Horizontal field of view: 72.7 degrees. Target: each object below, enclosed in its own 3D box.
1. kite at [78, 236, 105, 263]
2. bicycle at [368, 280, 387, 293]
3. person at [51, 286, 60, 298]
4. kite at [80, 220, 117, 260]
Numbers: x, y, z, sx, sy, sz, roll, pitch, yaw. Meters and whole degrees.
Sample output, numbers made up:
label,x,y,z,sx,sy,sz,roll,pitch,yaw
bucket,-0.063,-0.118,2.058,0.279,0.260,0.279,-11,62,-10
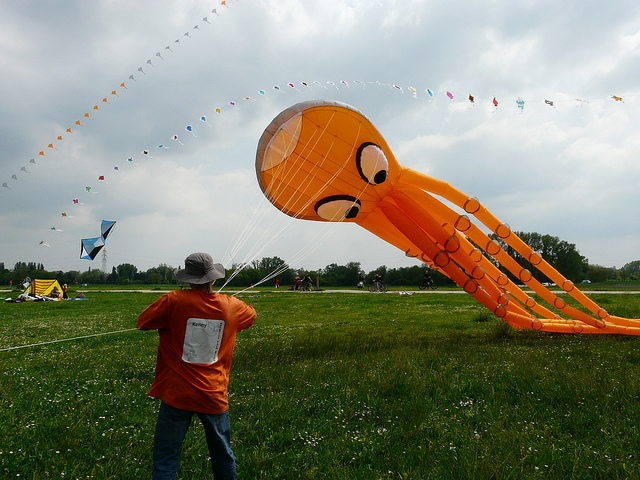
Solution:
label,x,y,z,sx,sy,sz,roll,pitch,yaw
kite,-11.273,0.441,21.485,1.045,1.089,1.034,34,2,40
bicycle,6.586,5.549,50.365,2.208,1.522,1.364,2,5,42
person,-25.263,4.952,41.572,0.575,1.140,1.112,3,-10,-32
kite,-10.684,0.122,20.830,0.453,1.364,2.290,-47,7,36
